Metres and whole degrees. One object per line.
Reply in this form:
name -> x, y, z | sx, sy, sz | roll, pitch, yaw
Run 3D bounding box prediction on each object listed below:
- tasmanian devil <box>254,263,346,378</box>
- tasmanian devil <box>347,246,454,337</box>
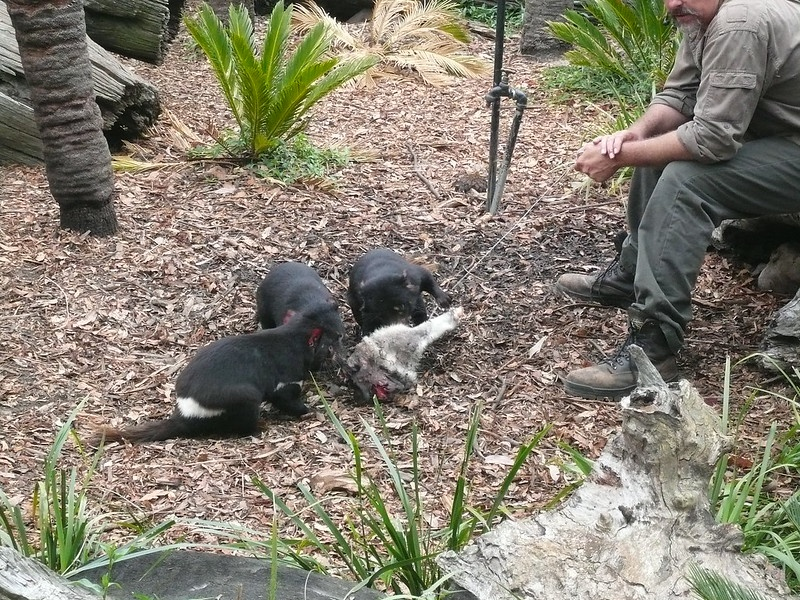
tasmanian devil -> -0.581, 0.079, 4.809 | 0.463, 0.428, 0.753 | -23, 44, -38
tasmanian devil -> -0.063, -0.026, 5.027 | 0.604, 0.416, 0.486 | 15, 33, 25
